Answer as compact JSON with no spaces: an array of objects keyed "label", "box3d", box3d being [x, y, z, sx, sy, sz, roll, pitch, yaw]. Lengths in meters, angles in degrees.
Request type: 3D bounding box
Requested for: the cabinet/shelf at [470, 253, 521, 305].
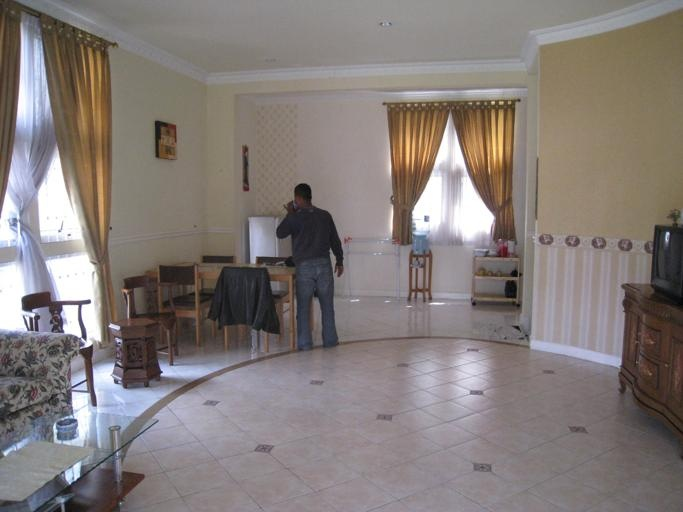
[{"label":"cabinet/shelf","box3d":[2.546,0.366,8.405,0.660,0.742,0.366,3,14,13]}]
